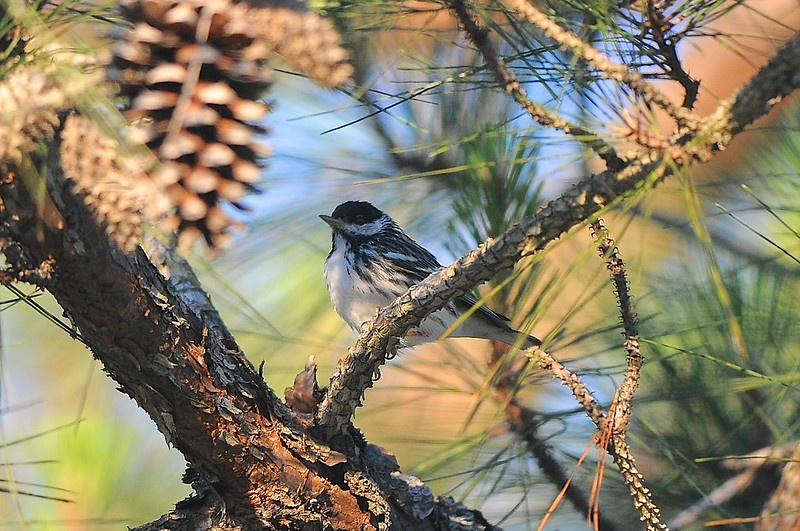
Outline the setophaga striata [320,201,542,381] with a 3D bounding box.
[{"bbox_3d":[0.081,0.113,7.845,1.545,0.856,0.556,15,-16,-34],"label":"setophaga striata"}]
